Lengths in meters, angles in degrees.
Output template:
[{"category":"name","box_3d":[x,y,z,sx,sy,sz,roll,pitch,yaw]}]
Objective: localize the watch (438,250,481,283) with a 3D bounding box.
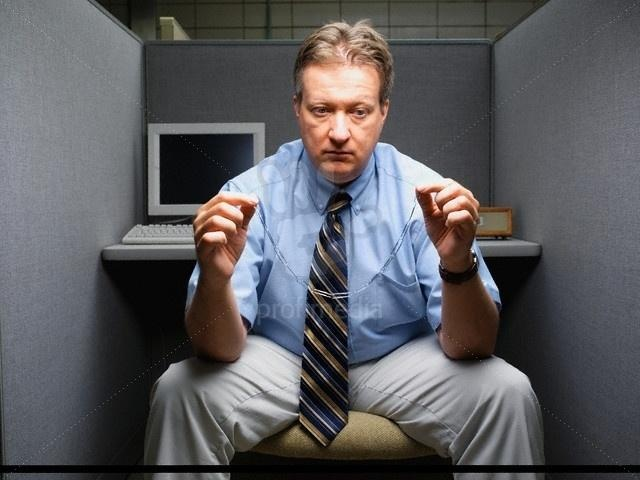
[{"category":"watch","box_3d":[0.227,0.039,0.875,0.048,0.021,0.051,0,21,46]}]

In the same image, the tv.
[{"category":"tv","box_3d":[-0.205,-0.120,0.949,0.167,0.138,0.018,0,3,-5]}]

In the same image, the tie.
[{"category":"tie","box_3d":[0.009,0.120,0.878,0.080,0.385,0.118,0,6,5]}]
